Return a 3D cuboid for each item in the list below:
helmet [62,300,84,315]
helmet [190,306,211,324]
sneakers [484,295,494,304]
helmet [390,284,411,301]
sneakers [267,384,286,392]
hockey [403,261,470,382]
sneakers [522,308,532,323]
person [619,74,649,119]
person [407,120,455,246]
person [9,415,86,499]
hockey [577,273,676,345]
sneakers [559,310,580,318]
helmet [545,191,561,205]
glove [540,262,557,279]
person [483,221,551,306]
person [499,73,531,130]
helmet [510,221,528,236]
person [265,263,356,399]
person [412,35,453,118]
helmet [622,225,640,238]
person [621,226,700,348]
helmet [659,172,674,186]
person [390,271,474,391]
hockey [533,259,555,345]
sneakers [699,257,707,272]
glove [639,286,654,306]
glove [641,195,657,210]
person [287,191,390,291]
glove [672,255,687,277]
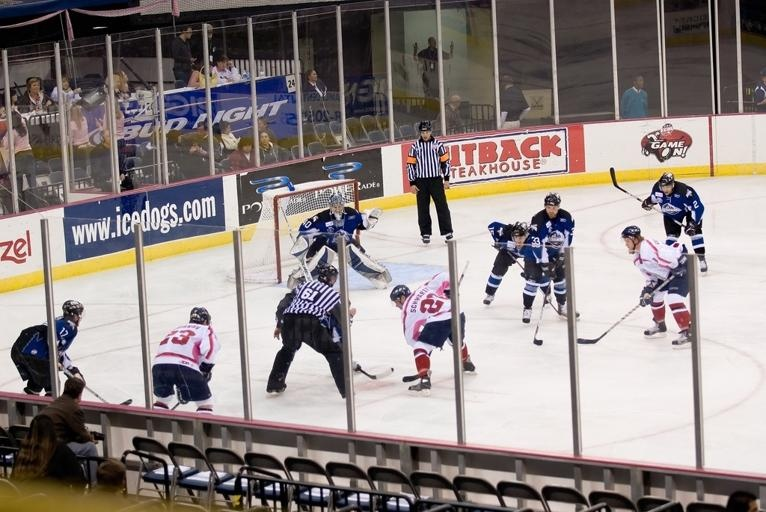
[{"bbox_3d":[-3.347,0.553,15.035,0.220,0.160,0.152,-6,31,-9],"label":"helmet"},{"bbox_3d":[-1.898,0.631,14.529,0.188,0.185,0.210,2,-6,-5],"label":"helmet"},{"bbox_3d":[1.026,0.448,13.968,0.051,0.057,0.134,34,-21,4],"label":"sneakers"},{"bbox_3d":[0.148,0.381,14.345,0.192,0.149,0.150,-15,-1,0],"label":"helmet"},{"bbox_3d":[-1.122,1.383,14.437,0.167,0.130,0.091,2,7,4],"label":"sneakers"},{"bbox_3d":[0.409,0.770,14.216,0.496,1.169,0.417,-3,6,-1],"label":"hockey"},{"bbox_3d":[1.404,0.605,13.919,0.093,0.125,0.170,-2,5,10],"label":"sneakers"},{"bbox_3d":[4.406,-2.829,25.038,0.517,0.720,0.238,-4,6,-7],"label":"person"},{"bbox_3d":[0.658,-1.126,20.899,0.589,1.721,0.675,-4,6,-6],"label":"person"},{"bbox_3d":[-3.075,1.816,12.731,0.652,0.690,0.402,-4,5,-14],"label":"person"},{"bbox_3d":[2.343,0.507,13.502,1.192,0.146,0.151,-31,-28,22],"label":"hockey"},{"bbox_3d":[1.764,0.581,13.606,0.239,0.073,0.067,1,6,31],"label":"sneakers"},{"bbox_3d":[2.076,-0.704,17.478,0.204,0.179,0.213,3,15,16],"label":"helmet"},{"bbox_3d":[1.629,0.149,14.048,0.140,0.152,0.080,11,3,15],"label":"glove"},{"bbox_3d":[1.350,0.041,14.241,0.764,0.863,0.639,16,29,35],"label":"person"},{"bbox_3d":[2.269,-2.746,24.801,0.541,0.945,0.242,-3,6,-5],"label":"person"},{"bbox_3d":[1.549,-0.313,16.250,0.158,0.150,0.174,4,24,14],"label":"helmet"},{"bbox_3d":[-0.803,0.786,14.333,0.851,1.333,0.302,0,6,27],"label":"person"},{"bbox_3d":[0.689,-3.170,23.970,0.488,1.147,0.137,-6,6,-30],"label":"person"},{"bbox_3d":[2.803,-0.278,16.083,0.239,0.177,0.164,8,0,-6],"label":"helmet"},{"bbox_3d":[2.724,0.340,14.060,0.579,0.928,1.613,-2,5,10],"label":"person"},{"bbox_3d":[3.859,-1.052,19.318,0.214,0.161,0.257,-2,5,9],"label":"helmet"},{"bbox_3d":[0.488,0.816,14.086,0.852,0.897,1.111,-21,-24,40],"label":"person"},{"bbox_3d":[1.565,0.584,13.884,0.167,0.115,0.659,5,40,10],"label":"hockey"},{"bbox_3d":[3.034,0.094,13.400,0.093,0.124,0.143,0,4,8],"label":"sneakers"},{"bbox_3d":[2.514,0.394,13.516,0.140,0.175,0.081,3,-3,20],"label":"glove"},{"bbox_3d":[3.678,-0.731,19.639,0.244,0.081,0.219,-7,16,17],"label":"glove"},{"bbox_3d":[-0.602,-0.169,16.451,1.439,1.024,0.717,-5,15,-21],"label":"person"},{"bbox_3d":[2.821,0.106,13.380,0.081,0.147,0.202,21,-48,-25],"label":"glove"}]
